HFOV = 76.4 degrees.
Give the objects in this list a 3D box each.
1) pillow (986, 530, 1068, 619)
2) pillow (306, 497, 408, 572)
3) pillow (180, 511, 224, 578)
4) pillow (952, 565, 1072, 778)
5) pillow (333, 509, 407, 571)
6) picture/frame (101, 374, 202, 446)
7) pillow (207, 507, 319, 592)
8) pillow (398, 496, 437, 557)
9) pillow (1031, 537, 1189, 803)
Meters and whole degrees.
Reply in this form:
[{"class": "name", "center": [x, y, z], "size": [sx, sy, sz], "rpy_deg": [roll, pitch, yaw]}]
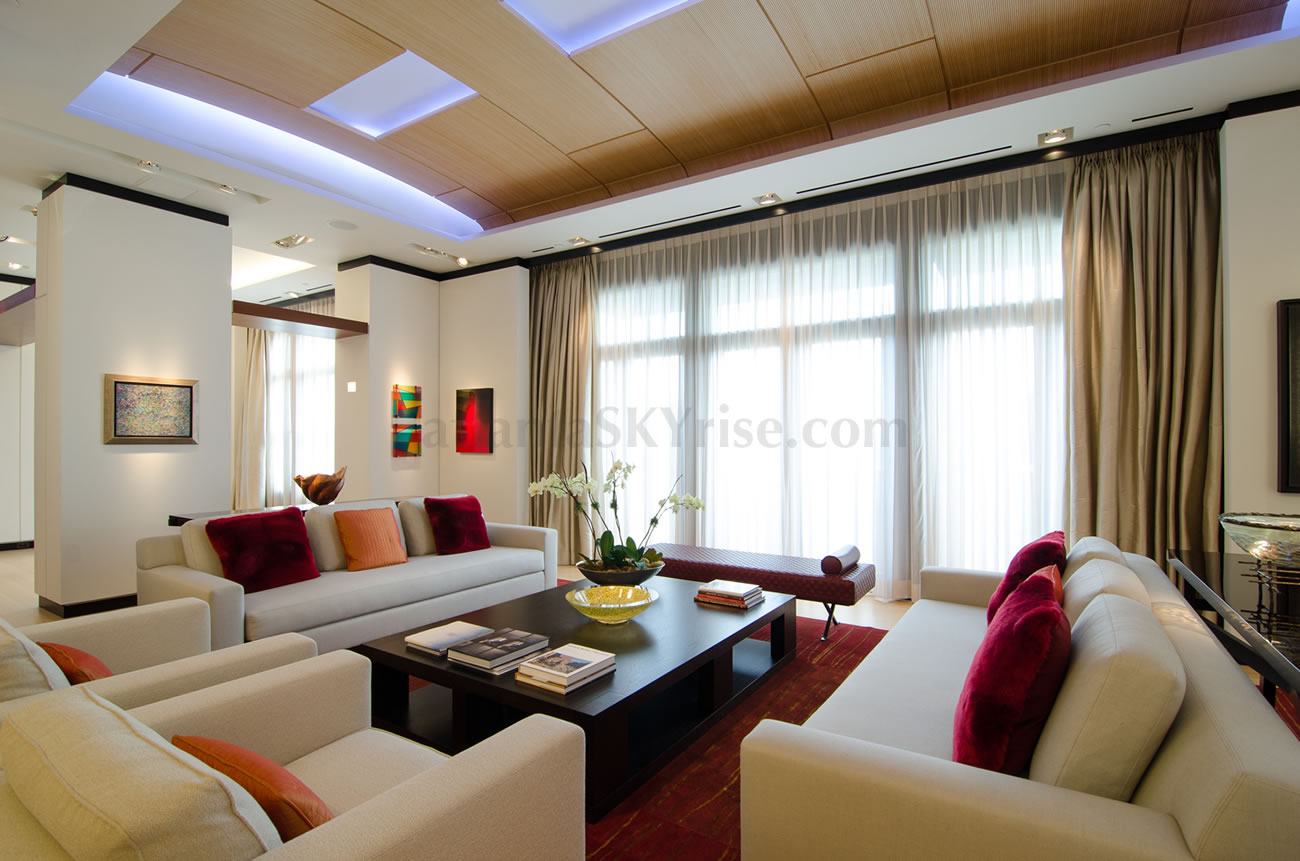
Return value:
[{"class": "pillow", "center": [2.014, 0.748, 4.405], "size": [0.194, 0.349, 0.429], "rpy_deg": [18, 9, 29]}, {"class": "pillow", "center": [-2.092, 0.720, 5.903], "size": [0.530, 0.505, 0.153], "rpy_deg": [-1, -27, -47]}, {"class": "pillow", "center": [-2.883, 0.745, 5.320], "size": [0.167, 0.229, 0.335], "rpy_deg": [-4, 3, -41]}, {"class": "pillow", "center": [1.633, 1.157, 3.959], "size": [0.474, 0.947, 1.312], "rpy_deg": [1, -19, 25]}, {"class": "pillow", "center": [-1.981, 0.726, 6.022], "size": [0.503, 0.496, 0.145], "rpy_deg": [-23, 0, 26]}, {"class": "picture/frame", "center": [-3.985, -0.175, 6.559], "size": [0.061, 0.542, 0.560], "rpy_deg": [5, 5, 39]}, {"class": "pillow", "center": [-2.523, 0.771, 5.418], "size": [0.345, 0.474, 0.588], "rpy_deg": [0, 3, 38]}, {"class": "pillow", "center": [-1.858, 0.652, 6.537], "size": [0.203, 0.711, 0.712], "rpy_deg": [2, -12, -15]}, {"class": "pillow", "center": [1.824, 1.081, 3.357], "size": [0.576, 0.712, 0.383], "rpy_deg": [-2, 2, 7]}]
